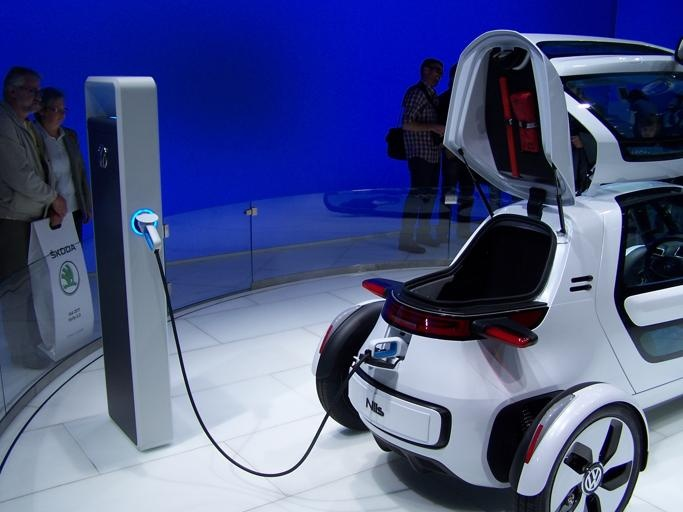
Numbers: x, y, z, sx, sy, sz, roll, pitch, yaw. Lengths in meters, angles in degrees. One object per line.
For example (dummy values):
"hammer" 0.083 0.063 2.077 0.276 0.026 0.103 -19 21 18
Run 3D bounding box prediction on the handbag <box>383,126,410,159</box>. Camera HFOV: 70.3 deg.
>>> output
"handbag" 0.656 -1.423 6.161 0.304 0.631 0.400 -2 14 -10
